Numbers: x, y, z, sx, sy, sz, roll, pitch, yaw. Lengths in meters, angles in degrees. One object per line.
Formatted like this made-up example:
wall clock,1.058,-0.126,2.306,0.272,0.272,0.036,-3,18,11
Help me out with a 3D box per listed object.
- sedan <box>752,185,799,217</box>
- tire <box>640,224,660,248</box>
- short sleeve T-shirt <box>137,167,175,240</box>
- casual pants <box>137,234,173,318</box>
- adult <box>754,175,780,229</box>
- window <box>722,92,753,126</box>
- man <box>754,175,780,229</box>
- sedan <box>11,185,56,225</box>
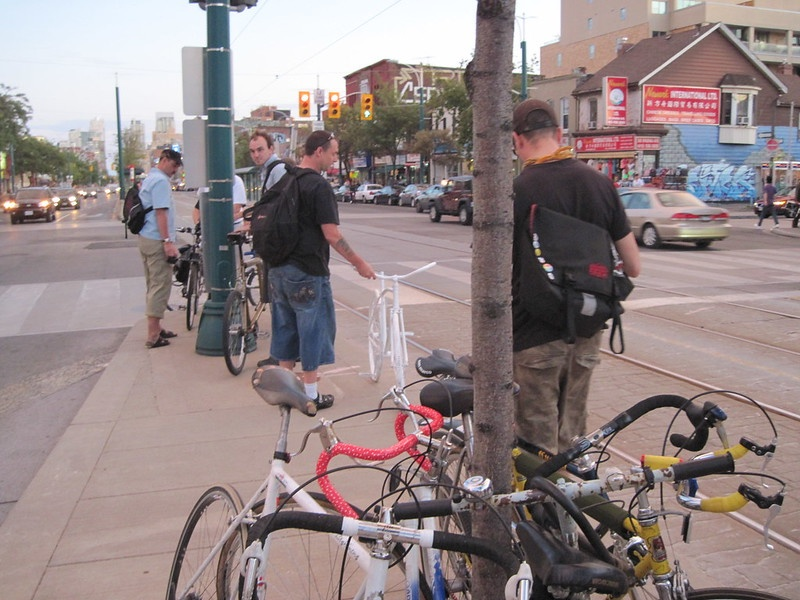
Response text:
sedan,16.421,-4.140,29.508,2.661,0.889,1.176,-1,3,-16
tire,6.839,-1.751,18.925,0.209,0.631,0.636,3,5,-9
short sleeve T-shirt,-2.829,-1.074,7.970,0.427,0.800,0.750,-7,17,-22
casual pants,-2.847,-0.250,8.072,0.321,0.928,0.424,-5,12,-19
adult,14.049,-3.738,26.426,0.648,1.878,4.777,4,13,28
window,20.237,-11.483,41.745,2.026,1.981,0.214,-2,9,-17
man,14.067,-3.746,26.459,0.648,1.878,4.854,4,13,28
sedan,-19.274,-4.859,36.023,1.985,1.724,2.080,-8,13,-29
